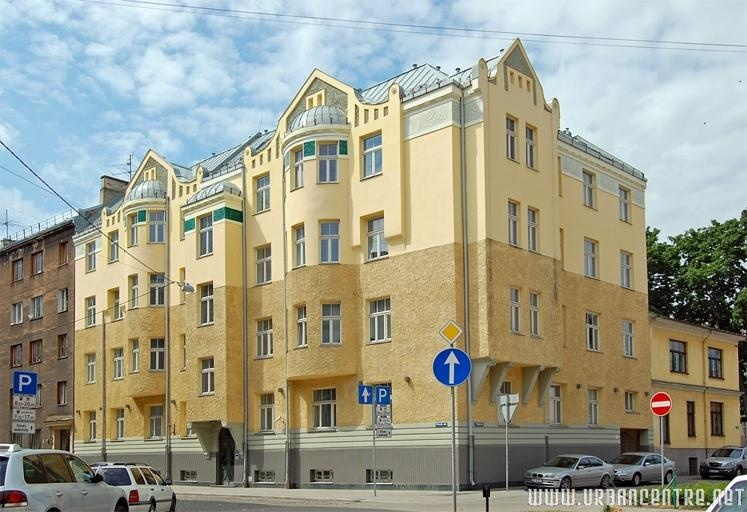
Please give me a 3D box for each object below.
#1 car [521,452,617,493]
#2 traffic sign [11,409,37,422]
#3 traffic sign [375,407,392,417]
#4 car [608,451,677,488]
[{"bbox_3d":[10.009,10.973,56.837,4.335,2.056,1.690,13,-25,-31],"label":"car"},{"bbox_3d":[-14.977,6.796,47.980,0.179,0.720,1.263,-15,-20,43],"label":"traffic sign"},{"bbox_3d":[0.470,7.481,54.058,0.453,0.571,0.858,-6,-9,36],"label":"traffic sign"},{"bbox_3d":[14.071,11.424,60.173,3.197,1.966,1.181,7,-22,-19],"label":"car"}]
